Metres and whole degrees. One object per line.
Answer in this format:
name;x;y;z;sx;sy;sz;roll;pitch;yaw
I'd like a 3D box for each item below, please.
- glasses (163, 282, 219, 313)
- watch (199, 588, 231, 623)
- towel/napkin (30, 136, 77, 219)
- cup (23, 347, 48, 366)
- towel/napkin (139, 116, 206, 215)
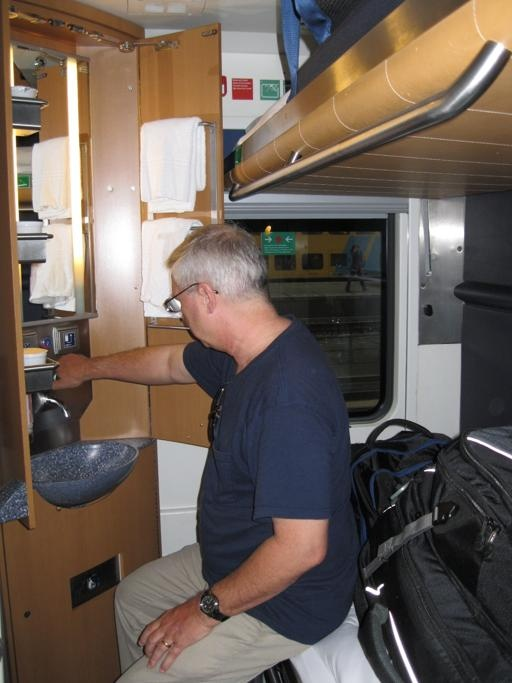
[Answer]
glasses;-0.224;-0.118;1.766;0.118;0.036;0.115;-39;-10;16
watch;-0.109;0.705;1.449;0.081;0.054;0.087;40;13;-41
towel/napkin;-0.868;-0.684;2.297;0.211;0.297;0.090;-1;7;-13
cup;-0.784;0.056;1.917;0.085;0.054;0.079;-1;6;0
towel/napkin;-0.357;-0.727;2.312;0.299;0.387;0.129;3;13;15
